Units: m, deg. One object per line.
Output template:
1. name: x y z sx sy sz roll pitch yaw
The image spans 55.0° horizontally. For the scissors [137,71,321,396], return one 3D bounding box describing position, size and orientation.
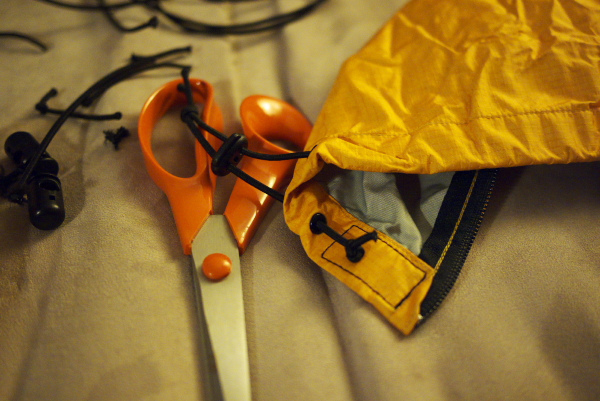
1. scissors: -0.130 0.020 0.902 0.262 0.093 0.571 11 61 -12
